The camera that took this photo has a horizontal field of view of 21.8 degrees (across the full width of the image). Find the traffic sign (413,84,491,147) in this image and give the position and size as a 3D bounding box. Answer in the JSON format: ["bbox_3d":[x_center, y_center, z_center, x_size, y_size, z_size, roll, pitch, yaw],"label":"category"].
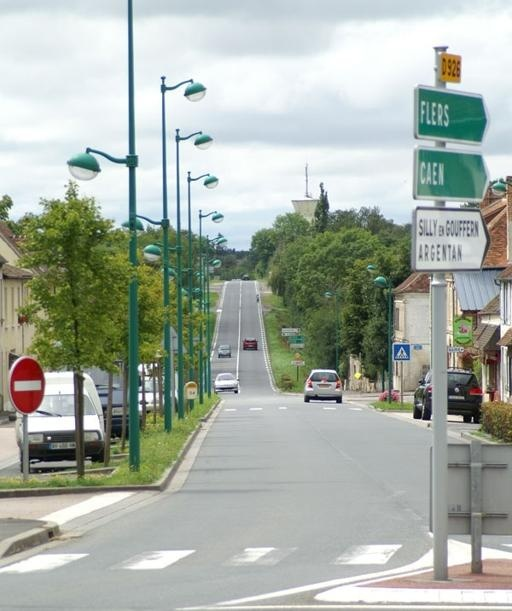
[{"bbox_3d":[1.677,-1.607,11.306,0.825,0.467,0.108,-2,-3,-34],"label":"traffic sign"}]

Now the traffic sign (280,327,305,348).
[{"bbox_3d":[3.130,2.684,110.522,1.528,1.810,0.253,1,13,0],"label":"traffic sign"}]

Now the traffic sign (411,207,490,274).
[{"bbox_3d":[1.630,-0.550,11.242,0.796,0.643,0.108,2,-4,-37],"label":"traffic sign"}]

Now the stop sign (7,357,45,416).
[{"bbox_3d":[-3.225,1.123,18.620,0.479,0.821,0.689,-3,-3,-11],"label":"stop sign"}]

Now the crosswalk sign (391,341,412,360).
[{"bbox_3d":[4.942,1.602,45.072,0.555,0.557,1.077,-4,-4,3],"label":"crosswalk sign"}]

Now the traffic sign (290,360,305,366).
[{"bbox_3d":[2.874,3.976,91.521,0.747,0.234,0.883,0,1,18],"label":"traffic sign"}]

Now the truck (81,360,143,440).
[{"bbox_3d":[-3.559,2.305,32.023,1.418,1.606,3.216,1,3,0],"label":"truck"}]

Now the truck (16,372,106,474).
[{"bbox_3d":[-3.392,2.094,22.904,1.415,1.863,3.001,-2,-5,-16],"label":"truck"}]

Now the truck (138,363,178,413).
[{"bbox_3d":[-2.789,2.379,37.979,1.152,1.319,2.201,0,-4,-5],"label":"truck"}]

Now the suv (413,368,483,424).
[{"bbox_3d":[5.030,2.346,35.671,1.497,1.731,3.748,2,2,-5],"label":"suv"}]

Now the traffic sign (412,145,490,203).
[{"bbox_3d":[1.665,-1.114,11.311,0.857,0.449,0.037,-2,-3,-33],"label":"traffic sign"}]
